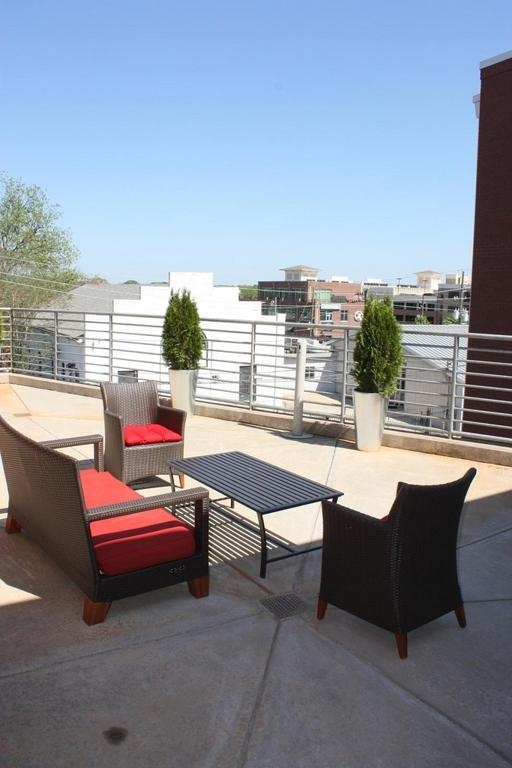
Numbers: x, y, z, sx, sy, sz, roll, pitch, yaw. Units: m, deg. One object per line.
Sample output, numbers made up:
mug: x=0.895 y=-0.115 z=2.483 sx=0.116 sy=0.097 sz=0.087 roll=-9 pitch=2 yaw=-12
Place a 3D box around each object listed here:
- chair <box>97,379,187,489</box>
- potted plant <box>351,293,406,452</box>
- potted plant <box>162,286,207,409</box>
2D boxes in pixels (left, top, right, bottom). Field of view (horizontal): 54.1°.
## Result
chair: x=-1.024 y=0.455 z=4.404 sx=0.670 sy=0.951 sz=0.712 roll=3 pitch=4 yaw=32
potted plant: x=1.314 y=-0.079 z=5.518 sx=0.532 sy=1.693 sz=0.278 roll=3 pitch=6 yaw=13
potted plant: x=-1.017 y=-0.412 z=6.861 sx=0.553 sy=1.723 sz=0.524 roll=1 pitch=6 yaw=-11
